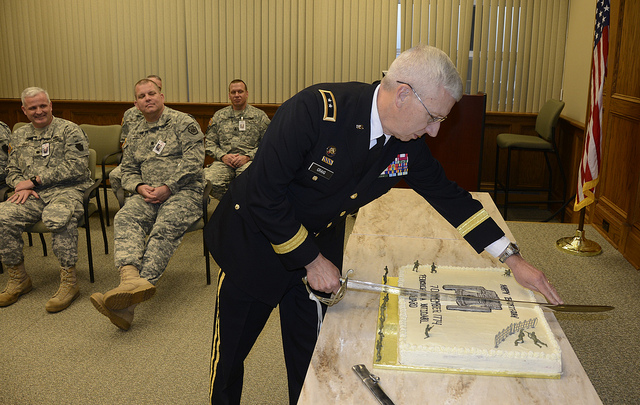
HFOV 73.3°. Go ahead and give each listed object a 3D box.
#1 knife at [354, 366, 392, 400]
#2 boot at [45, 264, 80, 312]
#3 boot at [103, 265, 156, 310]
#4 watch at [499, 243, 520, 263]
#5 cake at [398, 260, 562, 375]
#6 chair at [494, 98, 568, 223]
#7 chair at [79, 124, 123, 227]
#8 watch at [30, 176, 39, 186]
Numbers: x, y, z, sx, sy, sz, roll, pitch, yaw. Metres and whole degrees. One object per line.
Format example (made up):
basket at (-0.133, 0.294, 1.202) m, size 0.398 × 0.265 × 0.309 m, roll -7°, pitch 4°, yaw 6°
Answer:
knife at (0.225, 0.788, 1.865) m, size 0.059 × 0.041 × 0.224 m, roll -33°, pitch 58°, yaw -14°
boot at (-2.321, 0.767, 3.867) m, size 0.142 × 0.326 × 0.311 m, roll 5°, pitch 20°, yaw 18°
boot at (-1.572, 0.658, 3.574) m, size 0.357 × 0.323 × 0.327 m, roll 2°, pitch 14°, yaw -25°
watch at (1.035, 0.263, 2.344) m, size 0.033 × 0.101 × 0.097 m, roll 36°, pitch 1°, yaw 35°
cake at (0.777, 0.558, 2.202) m, size 0.785 × 0.185 × 0.664 m, roll 1°, pitch 21°, yaw 5°
chair at (3.099, -0.525, 6.258) m, size 0.903 × 2.249 × 1.105 m, roll 4°, pitch 16°, yaw 8°
chair at (-2.805, -0.255, 5.425) m, size 0.614 × 1.065 × 0.667 m, roll -22°, pitch -8°, yaw 26°
watch at (-2.786, -0.216, 4.226) m, size 0.064 × 0.091 × 0.034 m, roll -34°, pitch -1°, yaw -8°
